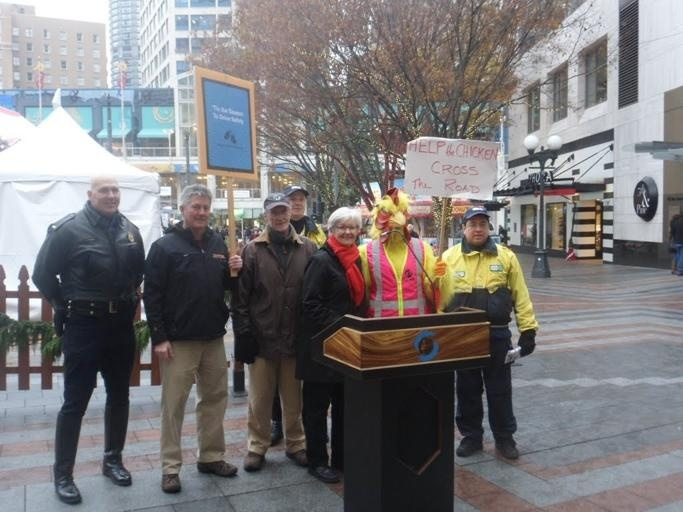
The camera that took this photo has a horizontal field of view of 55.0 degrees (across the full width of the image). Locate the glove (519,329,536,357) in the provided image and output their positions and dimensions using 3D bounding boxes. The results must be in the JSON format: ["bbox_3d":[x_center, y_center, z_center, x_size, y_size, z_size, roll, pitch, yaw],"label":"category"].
[{"bbox_3d":[1.968,0.901,6.990,0.190,0.268,0.266,-3,18,12],"label":"glove"}]

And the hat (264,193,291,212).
[{"bbox_3d":[-0.705,-0.582,6.904,0.175,0.145,0.241,0,-11,-7],"label":"hat"}]

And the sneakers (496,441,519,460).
[{"bbox_3d":[1.756,2.049,6.909,0.116,0.111,0.248,-3,-2,-15],"label":"sneakers"}]

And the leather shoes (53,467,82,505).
[{"bbox_3d":[-2.582,2.132,6.120,0.391,0.261,0.182,8,12,44],"label":"leather shoes"}]

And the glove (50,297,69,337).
[{"bbox_3d":[-2.729,0.617,6.367,0.097,0.305,0.210,1,3,-39],"label":"glove"}]

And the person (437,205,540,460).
[{"bbox_3d":[1.577,0.796,7.020,0.985,2.594,0.706,1,8,10],"label":"person"}]

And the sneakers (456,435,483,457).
[{"bbox_3d":[1.360,2.042,6.993,0.130,0.160,0.361,-9,-12,41],"label":"sneakers"}]

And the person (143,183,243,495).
[{"bbox_3d":[-1.484,0.756,6.526,0.915,2.868,0.825,-3,8,-22],"label":"person"}]

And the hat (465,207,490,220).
[{"bbox_3d":[1.456,-0.452,7.094,0.266,0.151,0.287,2,9,11],"label":"hat"}]

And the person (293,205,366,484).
[{"bbox_3d":[-0.118,0.865,6.538,0.669,2.648,0.621,-2,8,-16],"label":"person"}]

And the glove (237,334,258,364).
[{"bbox_3d":[-0.982,0.949,6.734,0.207,0.312,0.296,1,-12,-4],"label":"glove"}]

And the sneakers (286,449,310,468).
[{"bbox_3d":[-0.468,2.111,6.839,0.101,0.131,0.296,4,-2,-36],"label":"sneakers"}]

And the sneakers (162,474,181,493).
[{"bbox_3d":[-1.643,2.177,6.273,0.187,0.142,0.167,-2,9,-16],"label":"sneakers"}]

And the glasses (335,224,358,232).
[{"bbox_3d":[0.046,-0.278,6.494,0.221,0.072,0.054,-1,8,-9],"label":"glasses"}]

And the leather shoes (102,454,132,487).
[{"bbox_3d":[-2.232,2.076,6.450,0.440,0.277,0.158,7,1,39],"label":"leather shoes"}]

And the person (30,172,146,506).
[{"bbox_3d":[-2.421,0.730,6.369,1.034,2.941,0.898,-4,9,-27],"label":"person"}]

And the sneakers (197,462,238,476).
[{"bbox_3d":[-1.242,2.124,6.572,0.393,0.180,0.152,0,-2,9],"label":"sneakers"}]
